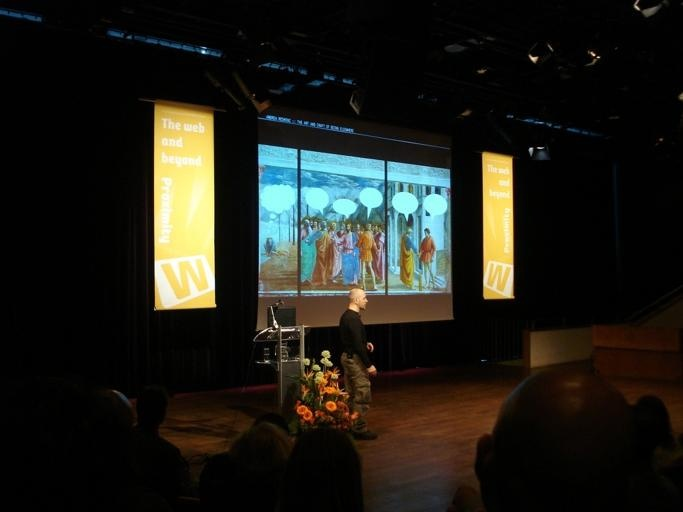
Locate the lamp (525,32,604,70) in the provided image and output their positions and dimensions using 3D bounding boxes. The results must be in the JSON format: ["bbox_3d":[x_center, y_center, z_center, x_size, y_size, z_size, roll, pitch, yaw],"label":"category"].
[{"bbox_3d":[3.118,-2.883,7.894,0.789,0.309,0.572,-3,7,-21],"label":"lamp"}]

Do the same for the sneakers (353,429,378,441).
[{"bbox_3d":[0.240,1.919,5.980,0.292,0.137,0.105,-1,-3,-1],"label":"sneakers"}]

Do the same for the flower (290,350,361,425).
[{"bbox_3d":[-0.206,1.347,5.322,0.480,0.742,0.472,-1,-15,-18],"label":"flower"}]

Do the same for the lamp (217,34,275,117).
[{"bbox_3d":[-1.381,-2.721,8.165,0.698,0.853,1.597,0,-2,-12],"label":"lamp"}]
